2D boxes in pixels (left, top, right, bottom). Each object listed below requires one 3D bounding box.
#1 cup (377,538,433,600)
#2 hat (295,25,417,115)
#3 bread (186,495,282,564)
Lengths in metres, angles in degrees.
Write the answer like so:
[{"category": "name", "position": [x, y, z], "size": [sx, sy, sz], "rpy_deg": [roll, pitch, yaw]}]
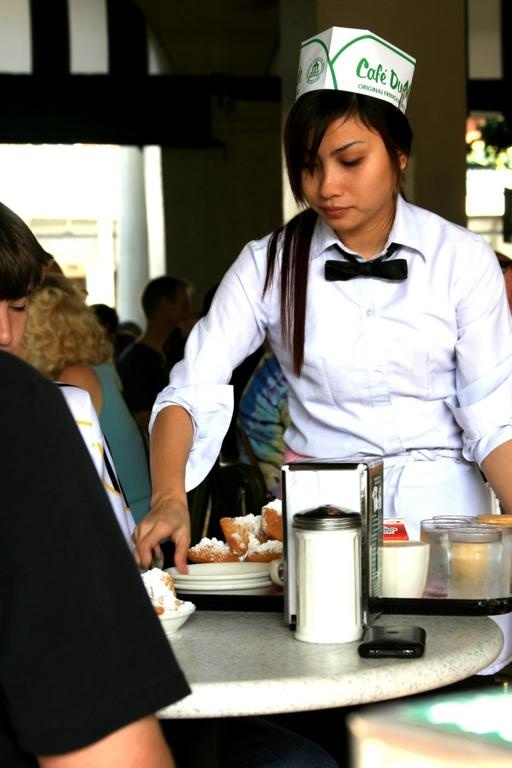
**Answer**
[{"category": "cup", "position": [0.233, 0.289, 1.158], "size": [0.087, 0.096, 0.084], "rpy_deg": [0, -5, 0]}, {"category": "hat", "position": [0.225, -0.632, 1.569], "size": [0.262, 0.105, 0.196], "rpy_deg": [-9, 29, -46]}, {"category": "bread", "position": [-0.043, 0.273, 1.335], "size": [0.141, 0.051, 0.146], "rpy_deg": [-17, 0, 35]}]
